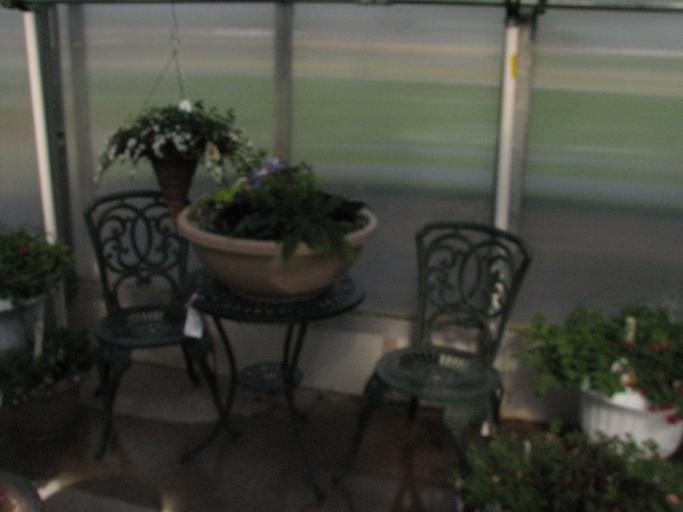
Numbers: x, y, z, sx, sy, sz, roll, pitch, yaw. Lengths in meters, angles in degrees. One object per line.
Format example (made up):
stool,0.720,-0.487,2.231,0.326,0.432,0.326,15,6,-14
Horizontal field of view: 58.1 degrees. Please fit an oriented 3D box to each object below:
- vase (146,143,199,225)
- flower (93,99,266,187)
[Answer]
vase,-0.903,-0.396,3.339,0.346,0.429,0.346,3,18,3
flower,-0.850,-0.616,3.252,0.593,0.311,0.603,6,11,33
